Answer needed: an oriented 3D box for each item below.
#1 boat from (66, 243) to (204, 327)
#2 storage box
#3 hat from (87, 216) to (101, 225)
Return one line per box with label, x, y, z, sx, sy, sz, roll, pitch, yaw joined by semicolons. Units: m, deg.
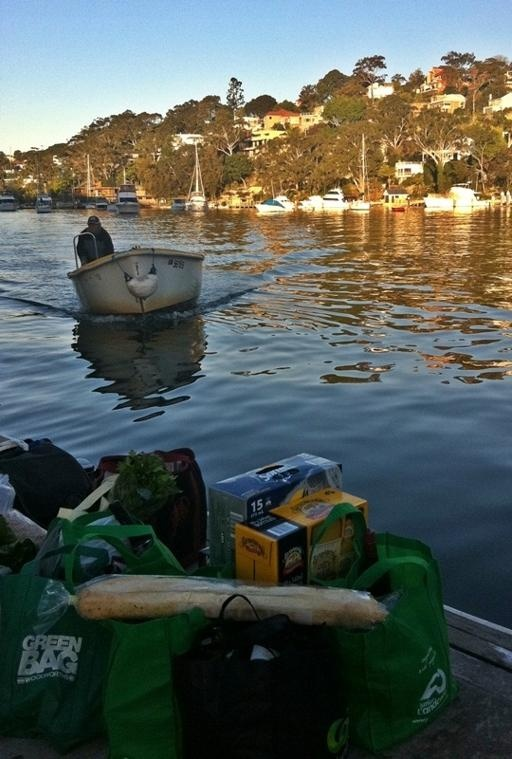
boat;-2.555;-2.128;13.952;2.412;1.440;1.101;-10;12;-34
storage box;0.086;0.326;2.248;0.369;0.426;0.670;5;11;42
hat;-3.385;-3.308;13.195;0.221;0.182;0.313;-4;16;-6
